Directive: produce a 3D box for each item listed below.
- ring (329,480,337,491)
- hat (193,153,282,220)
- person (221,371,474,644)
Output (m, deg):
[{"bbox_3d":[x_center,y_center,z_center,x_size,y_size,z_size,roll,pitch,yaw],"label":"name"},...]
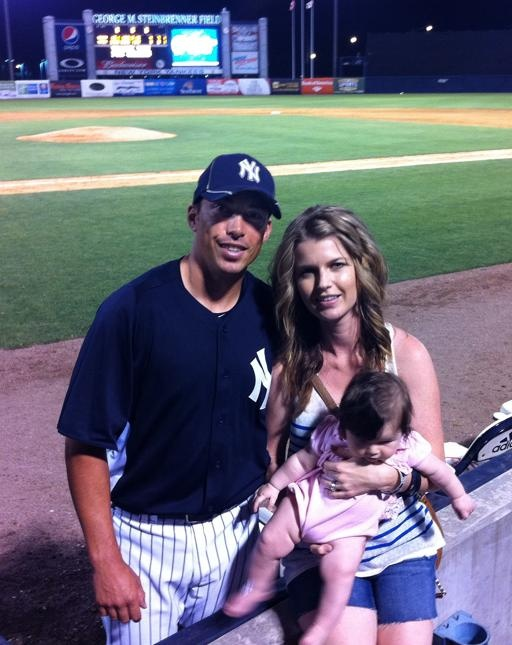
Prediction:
[{"bbox_3d":[0.232,0.486,1.691,0.012,0.027,0.023,-7,-20,-25],"label":"ring"},{"bbox_3d":[-0.074,-0.461,1.906,0.232,0.139,0.275,7,6,-25],"label":"hat"},{"bbox_3d":[0.248,0.512,1.799,0.721,0.735,0.494,-13,15,-37],"label":"person"}]
